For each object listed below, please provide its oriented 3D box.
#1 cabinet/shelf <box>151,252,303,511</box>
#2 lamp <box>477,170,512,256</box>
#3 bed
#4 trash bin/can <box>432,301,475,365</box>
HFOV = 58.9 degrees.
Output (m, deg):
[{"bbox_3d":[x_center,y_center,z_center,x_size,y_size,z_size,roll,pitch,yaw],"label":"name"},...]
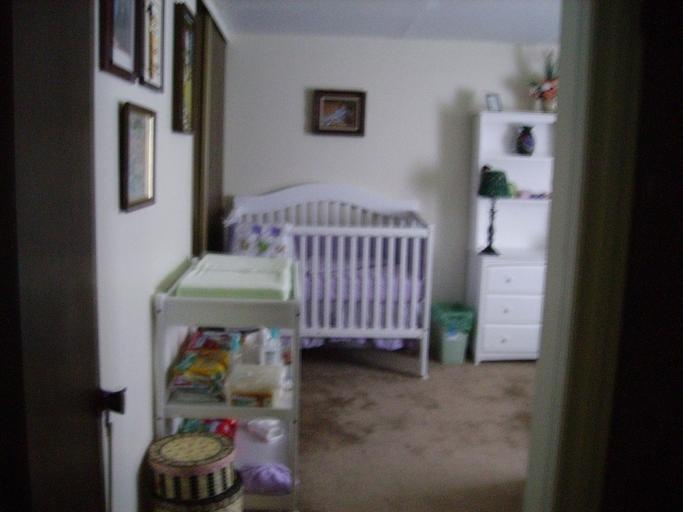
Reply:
[{"bbox_3d":[-0.316,0.423,2.397,0.617,1.162,0.618,0,4,-4],"label":"cabinet/shelf"},{"bbox_3d":[0.911,-0.256,3.607,0.210,0.529,0.383,-5,-9,13],"label":"lamp"},{"bbox_3d":[-0.117,0.132,3.579,1.192,1.037,0.707,1,9,-9],"label":"bed"},{"bbox_3d":[0.676,0.473,3.659,0.216,0.239,0.322,0,0,2],"label":"trash bin/can"}]
